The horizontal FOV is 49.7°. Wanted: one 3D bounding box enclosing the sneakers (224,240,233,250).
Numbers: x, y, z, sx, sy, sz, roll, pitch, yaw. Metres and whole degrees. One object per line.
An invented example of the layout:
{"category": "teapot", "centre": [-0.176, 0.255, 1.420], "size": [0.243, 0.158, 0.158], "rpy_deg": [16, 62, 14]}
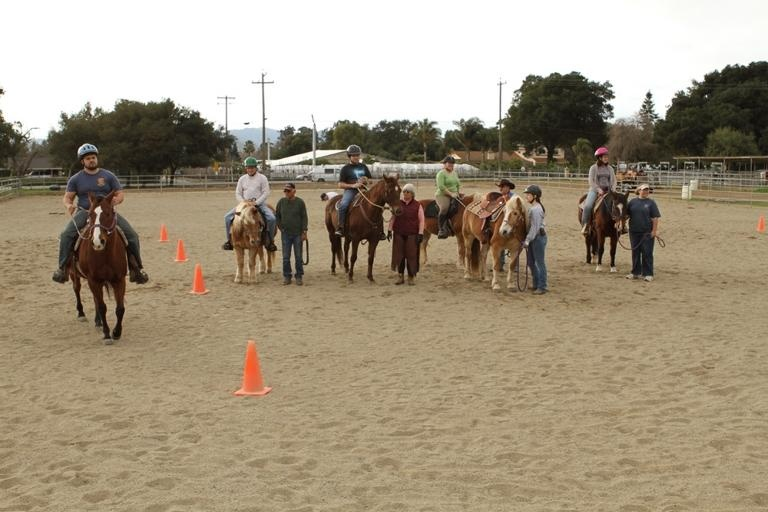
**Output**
{"category": "sneakers", "centre": [-3.690, -0.270, 19.491], "size": [0.239, 0.237, 0.157], "rpy_deg": [0, 0, 17]}

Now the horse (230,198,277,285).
{"category": "horse", "centre": [-3.156, -0.444, 19.594], "size": [0.945, 1.985, 1.949], "rpy_deg": [-2, 14, -8]}

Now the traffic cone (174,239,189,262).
{"category": "traffic cone", "centre": [-5.567, -0.157, 22.646], "size": [0.474, 0.754, 0.487], "rpy_deg": [0, 17, -5]}

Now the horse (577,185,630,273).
{"category": "horse", "centre": [5.321, -0.632, 20.068], "size": [0.762, 2.053, 1.630], "rpy_deg": [0, 13, 1]}

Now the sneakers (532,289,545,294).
{"category": "sneakers", "centre": [3.324, 0.742, 17.927], "size": [0.249, 0.100, 0.109], "rpy_deg": [1, 22, 21]}

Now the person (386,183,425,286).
{"category": "person", "centre": [0.475, -0.472, 18.749], "size": [0.738, 2.313, 1.215], "rpy_deg": [0, 13, 1]}

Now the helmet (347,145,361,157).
{"category": "helmet", "centre": [-0.708, -2.434, 18.994], "size": [0.279, 0.305, 0.355], "rpy_deg": [-1, 1, -13]}

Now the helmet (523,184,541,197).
{"category": "helmet", "centre": [3.196, -1.430, 17.927], "size": [0.375, 0.216, 0.273], "rpy_deg": [19, 8, 7]}

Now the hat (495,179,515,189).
{"category": "hat", "centre": [2.716, -1.655, 18.884], "size": [0.292, 0.122, 0.334], "rpy_deg": [5, -3, -5]}

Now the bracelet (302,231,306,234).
{"category": "bracelet", "centre": [-1.887, -0.563, 19.406], "size": [0.073, 0.102, 0.097], "rpy_deg": [-2, 43, -6]}

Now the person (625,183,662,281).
{"category": "person", "centre": [5.909, -0.621, 19.143], "size": [0.709, 2.139, 1.279], "rpy_deg": [4, 14, 17]}

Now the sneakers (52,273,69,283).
{"category": "sneakers", "centre": [-6.097, 0.386, 15.585], "size": [0.217, 0.238, 0.141], "rpy_deg": [-19, -15, 8]}

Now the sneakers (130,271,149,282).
{"category": "sneakers", "centre": [-4.701, 0.382, 15.901], "size": [0.300, 0.301, 0.197], "rpy_deg": [0, 5, -4]}

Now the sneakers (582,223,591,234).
{"category": "sneakers", "centre": [4.965, -0.687, 20.485], "size": [0.141, 0.239, 0.179], "rpy_deg": [12, 1, 33]}

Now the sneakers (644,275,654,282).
{"category": "sneakers", "centre": [5.972, 0.491, 18.814], "size": [0.183, 0.081, 0.233], "rpy_deg": [4, 15, 14]}

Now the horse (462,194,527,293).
{"category": "horse", "centre": [2.451, -0.381, 18.594], "size": [0.690, 2.158, 1.980], "rpy_deg": [-5, 14, -21]}

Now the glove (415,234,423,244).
{"category": "glove", "centre": [0.772, -0.403, 18.611], "size": [0.131, 0.192, 0.071], "rpy_deg": [-1, 5, 11]}

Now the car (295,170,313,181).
{"category": "car", "centre": [-7.617, -7.454, 77.491], "size": [1.188, 0.789, 4.775], "rpy_deg": [-3, 15, -12]}

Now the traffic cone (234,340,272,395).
{"category": "traffic cone", "centre": [-2.073, 1.736, 13.366], "size": [0.724, 1.016, 0.736], "rpy_deg": [0, 8, -1]}

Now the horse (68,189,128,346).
{"category": "horse", "centre": [-5.124, 0.150, 15.007], "size": [0.772, 2.606, 1.285], "rpy_deg": [-8, 15, -31]}
